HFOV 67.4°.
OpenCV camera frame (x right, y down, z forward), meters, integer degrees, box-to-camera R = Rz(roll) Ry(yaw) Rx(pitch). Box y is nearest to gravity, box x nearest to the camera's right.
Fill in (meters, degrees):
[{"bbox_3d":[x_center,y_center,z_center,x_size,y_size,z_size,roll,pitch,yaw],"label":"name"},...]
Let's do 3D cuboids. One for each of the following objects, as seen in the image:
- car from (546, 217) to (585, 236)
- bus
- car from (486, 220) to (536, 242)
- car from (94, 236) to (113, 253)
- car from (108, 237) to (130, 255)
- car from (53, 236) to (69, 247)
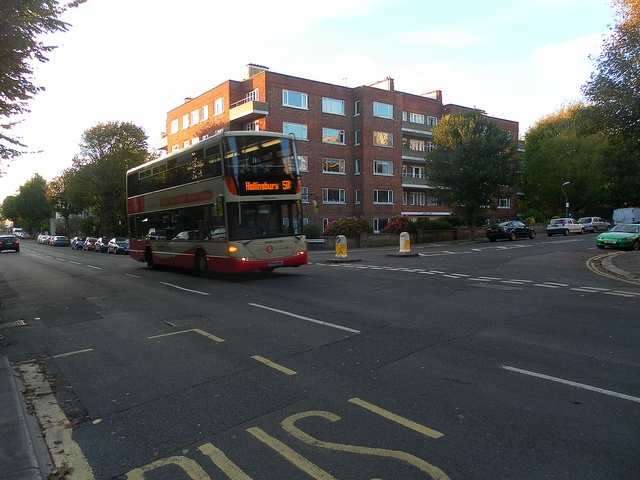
[{"bbox_3d":[22.434,-1.236,44.243,3.223,1.456,1.299,-5,8,-19],"label":"car"},{"bbox_3d":[-4.796,-1.143,20.053,3.729,5.218,9.997,-5,3,-41],"label":"bus"},{"bbox_3d":[15.301,-0.774,38.532,3.662,1.287,1.631,-4,4,-36],"label":"car"},{"bbox_3d":[-20.935,0.349,46.699,1.289,1.448,2.611,0,-2,-37],"label":"car"},{"bbox_3d":[-17.261,0.522,41.421,1.344,1.122,3.215,0,-2,-32],"label":"car"},{"bbox_3d":[-38.056,0.117,70.835,1.403,1.101,3.118,-1,7,-29],"label":"car"}]
